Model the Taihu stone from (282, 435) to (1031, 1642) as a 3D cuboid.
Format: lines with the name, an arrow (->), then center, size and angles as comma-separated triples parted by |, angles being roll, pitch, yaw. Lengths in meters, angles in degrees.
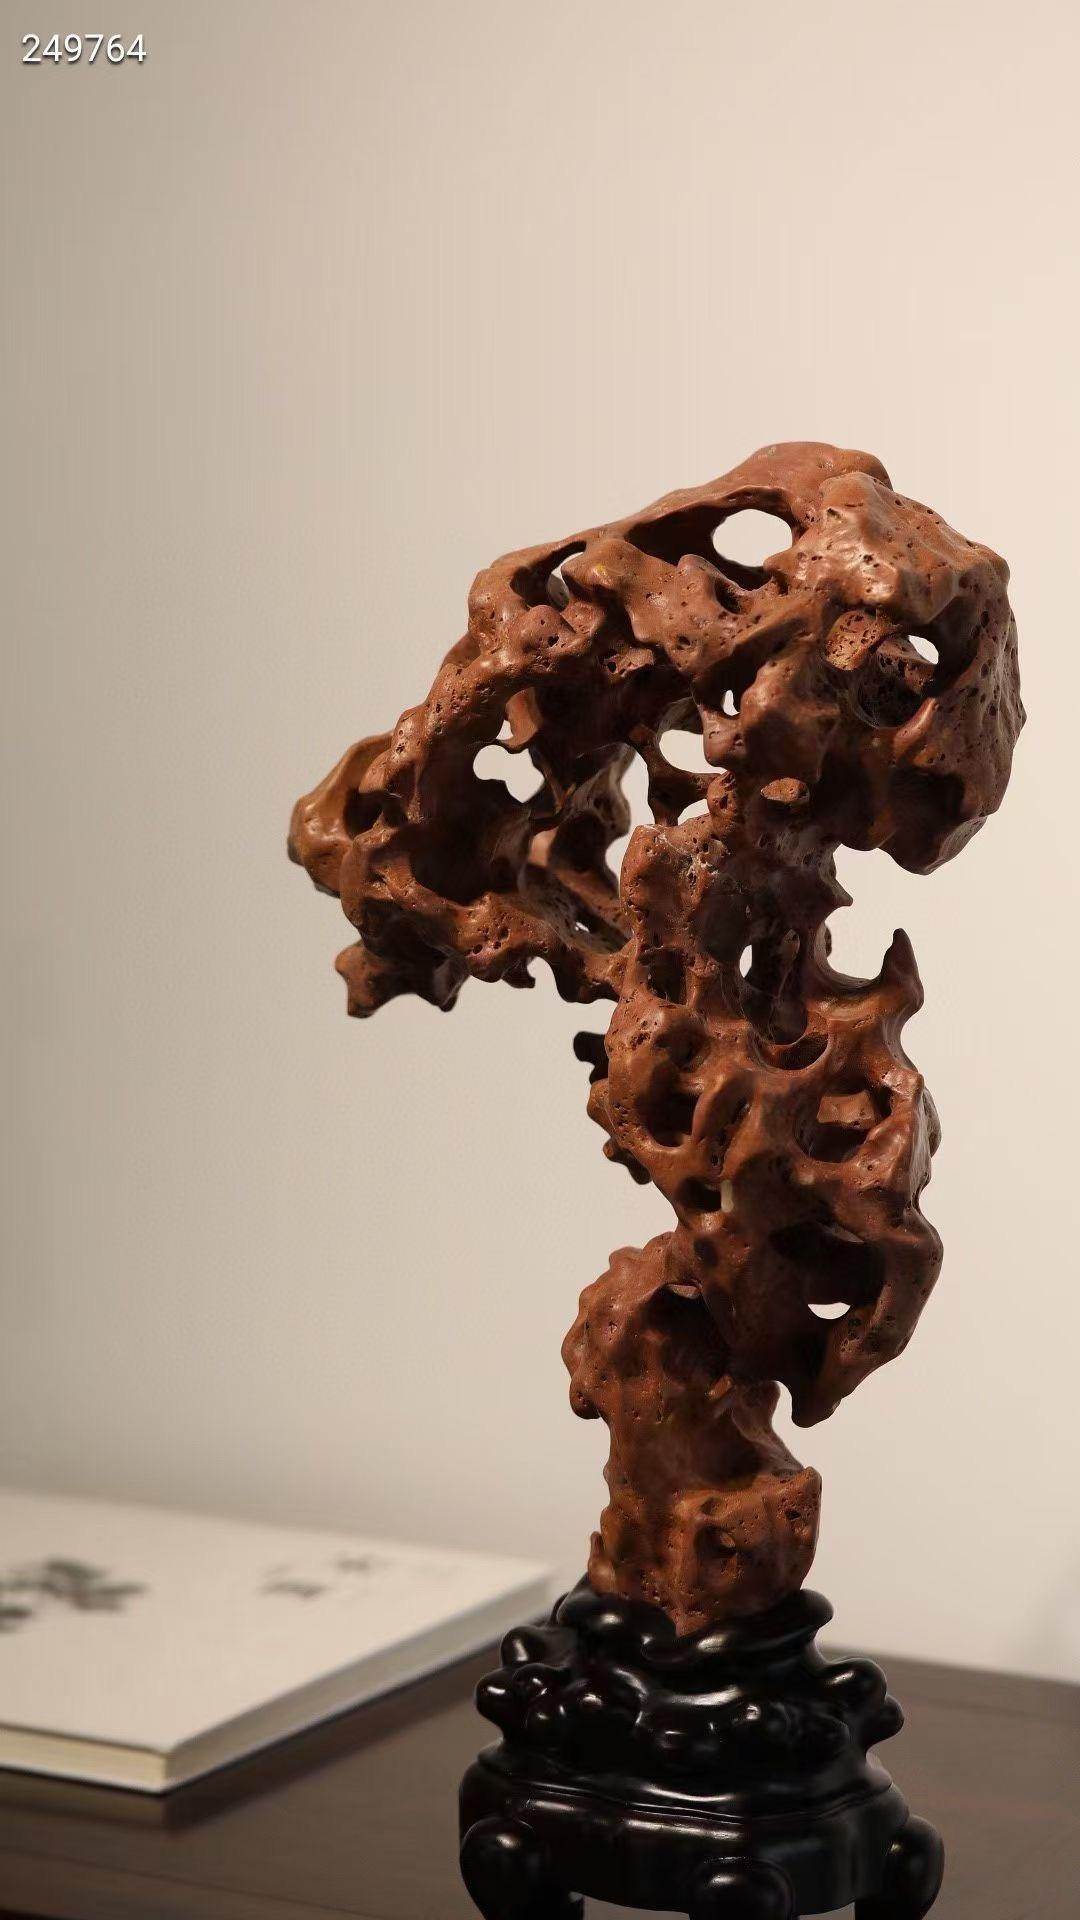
Taihu stone -> 0.070, 0.020, 1.190 | 0.258, 0.583, 0.384 | -9, 13, -40
